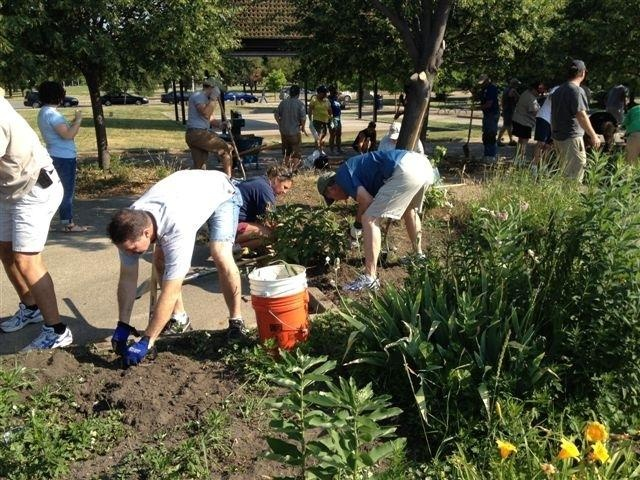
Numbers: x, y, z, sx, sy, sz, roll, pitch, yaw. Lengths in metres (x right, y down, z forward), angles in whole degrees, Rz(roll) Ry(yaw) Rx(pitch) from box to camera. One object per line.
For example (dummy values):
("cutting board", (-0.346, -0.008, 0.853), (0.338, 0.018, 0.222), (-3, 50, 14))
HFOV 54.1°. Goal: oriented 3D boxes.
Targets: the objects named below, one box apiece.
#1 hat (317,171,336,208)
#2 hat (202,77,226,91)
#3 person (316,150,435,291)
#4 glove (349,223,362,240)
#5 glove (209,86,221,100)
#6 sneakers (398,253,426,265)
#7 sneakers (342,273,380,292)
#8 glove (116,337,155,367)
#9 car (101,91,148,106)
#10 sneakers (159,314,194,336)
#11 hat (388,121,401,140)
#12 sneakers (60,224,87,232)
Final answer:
("hat", (0.046, -0.579, 7.093), (0.166, 0.331, 0.233), (17, 30, 18))
("hat", (-1.849, -2.729, 10.887), (0.246, 0.119, 0.364), (2, 14, -22))
("person", (0.616, -0.242, 6.828), (1.191, 1.428, 0.872), (1, 15, 0))
("glove", (0.424, -0.093, 7.558), (0.127, 0.189, 0.187), (-1, 6, -4))
("glove", (-1.791, -2.547, 10.825), (0.135, 0.200, 0.188), (1, 26, 1))
("sneakers", (1.012, 0.221, 6.919), (0.321, 0.142, 0.111), (-9, 22, 43))
("sneakers", (0.450, 0.459, 6.620), (0.439, 0.208, 0.157), (0, 7, -2))
("glove", (-1.558, 0.975, 5.502), (0.174, 0.227, 0.467), (13, 5, 15))
("car", (-14.117, -10.393, 45.955), (3.268, 0.936, 2.572), (-8, 19, -28))
("sneakers", (-1.430, 0.859, 6.291), (0.125, 0.160, 0.339), (6, 9, 43))
("hat", (1.256, -1.865, 10.670), (0.169, 0.280, 0.292), (2, 16, 5))
("sneakers", (-3.591, -0.177, 9.175), (0.313, 0.136, 0.163), (-3, 15, -13))
